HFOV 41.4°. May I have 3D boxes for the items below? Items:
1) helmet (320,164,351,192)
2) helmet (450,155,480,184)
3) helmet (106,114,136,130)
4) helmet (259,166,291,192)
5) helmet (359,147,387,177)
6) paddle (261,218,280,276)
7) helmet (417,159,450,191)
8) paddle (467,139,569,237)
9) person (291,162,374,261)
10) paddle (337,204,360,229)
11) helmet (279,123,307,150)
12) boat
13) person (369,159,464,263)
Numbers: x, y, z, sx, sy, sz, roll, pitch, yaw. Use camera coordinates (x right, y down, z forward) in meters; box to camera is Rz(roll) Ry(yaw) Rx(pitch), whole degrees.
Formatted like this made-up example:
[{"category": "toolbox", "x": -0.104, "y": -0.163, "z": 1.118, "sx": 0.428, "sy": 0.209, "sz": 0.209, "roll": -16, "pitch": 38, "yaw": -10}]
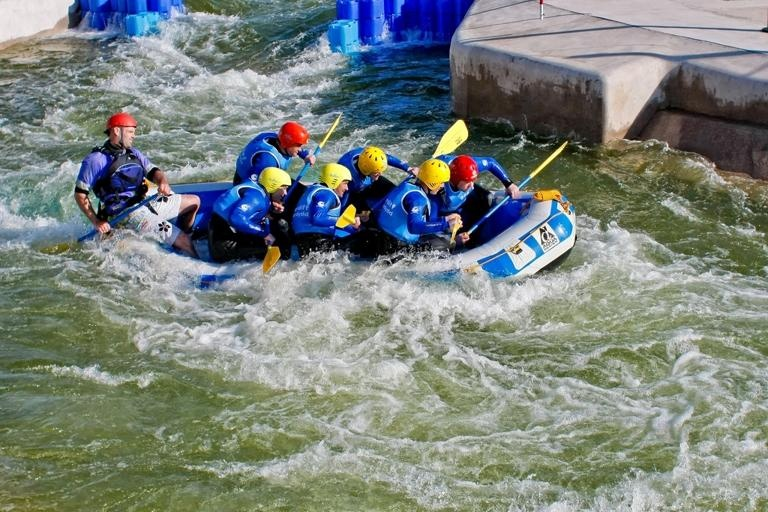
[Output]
[{"category": "helmet", "x": -0.649, "y": -0.997, "z": 12.943, "sx": 0.400, "sy": 0.286, "sz": 0.281, "roll": 21, "pitch": 10, "yaw": -18}, {"category": "helmet", "x": 1.026, "y": -1.065, "z": 12.741, "sx": 0.299, "sy": 0.353, "sz": 0.344, "roll": -1, "pitch": 5, "yaw": -23}, {"category": "helmet", "x": -3.352, "y": -1.709, "z": 13.095, "sx": 0.373, "sy": 0.134, "sz": 0.264, "roll": 6, "pitch": 7, "yaw": -25}, {"category": "helmet", "x": -1.419, "y": -0.961, "z": 12.981, "sx": 0.374, "sy": 0.269, "sz": 0.277, "roll": 26, "pitch": 2, "yaw": -11}, {"category": "helmet", "x": -0.137, "y": -1.220, "z": 13.132, "sx": 0.299, "sy": 0.308, "sz": 0.388, "roll": 29, "pitch": 58, "yaw": 9}, {"category": "paddle", "x": -1.418, "y": 0.035, "z": 12.840, "sx": 0.224, "sy": 0.352, "sz": 0.348, "roll": 2, "pitch": 18, "yaw": -6}, {"category": "helmet", "x": 0.659, "y": -1.038, "z": 12.792, "sx": 0.449, "sy": 0.349, "sz": 0.309, "roll": -18, "pitch": 12, "yaw": 17}, {"category": "paddle", "x": 1.846, "y": -0.866, "z": 13.861, "sx": 2.668, "sy": 0.228, "sz": 0.190, "roll": -32, "pitch": -8, "yaw": -19}, {"category": "person", "x": -0.727, "y": -0.795, "z": 13.310, "sx": 1.191, "sy": 1.466, "sz": 1.015, "roll": -8, "pitch": 37, "yaw": -16}, {"category": "paddle", "x": -0.469, "y": -0.463, "z": 12.813, "sx": 0.108, "sy": 0.239, "sz": 0.290, "roll": 34, "pitch": -5, "yaw": 25}, {"category": "helmet", "x": -1.199, "y": -1.577, "z": 13.485, "sx": 0.386, "sy": 0.284, "sz": 0.283, "roll": 30, "pitch": 23, "yaw": -9}, {"category": "boat", "x": 0.199, "y": -0.199, "z": 12.970, "sx": 4.322, "sy": 0.785, "sz": 1.959, "roll": -3, "pitch": 31, "yaw": 6}, {"category": "person", "x": 0.421, "y": -0.502, "z": 12.782, "sx": 0.764, "sy": 1.082, "sz": 0.740, "roll": -10, "pitch": 62, "yaw": -23}]
